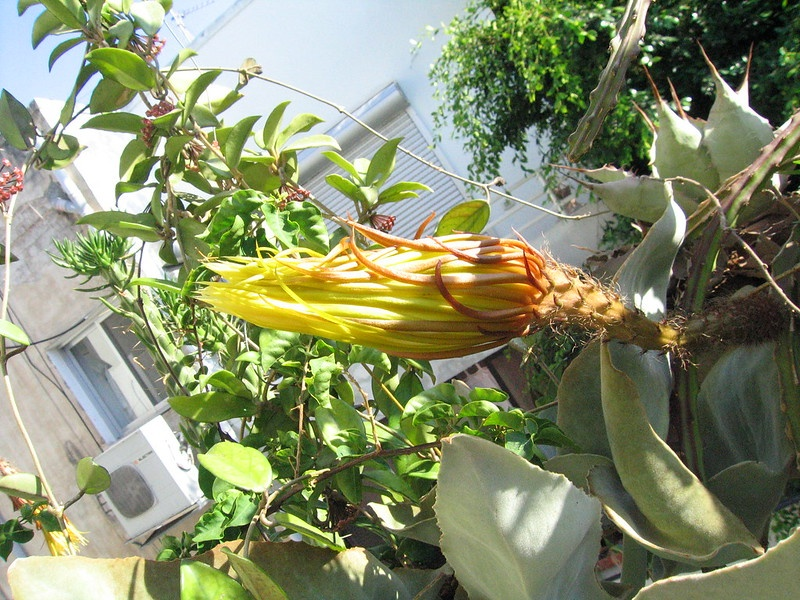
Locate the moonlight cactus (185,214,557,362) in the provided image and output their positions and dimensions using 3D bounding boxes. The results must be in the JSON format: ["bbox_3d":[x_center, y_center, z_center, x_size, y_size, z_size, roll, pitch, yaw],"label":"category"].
[{"bbox_3d":[0.000,-0.013,0.534,0.293,0.145,0.147,3,-8,11],"label":"moonlight cactus"}]

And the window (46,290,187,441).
[{"bbox_3d":[-1.230,0.303,2.627,0.524,0.608,0.043,-44,-12,15],"label":"window"}]

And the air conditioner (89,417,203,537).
[{"bbox_3d":[-1.301,0.932,3.214,0.475,0.612,0.196,-33,-3,5],"label":"air conditioner"}]
